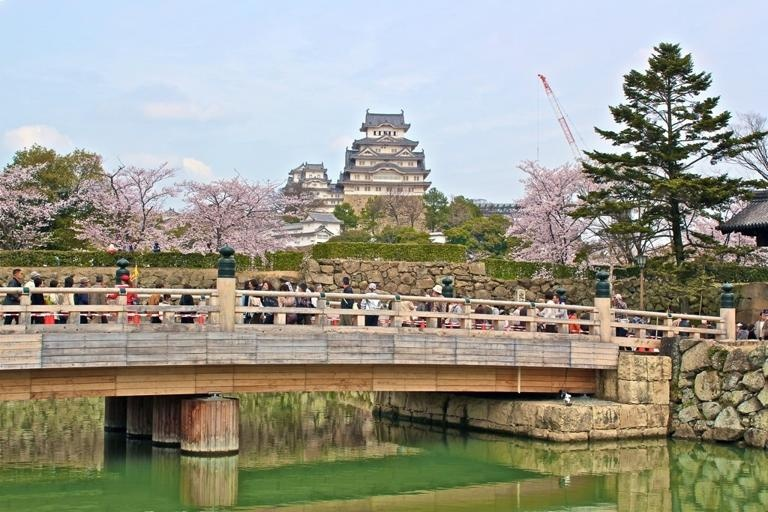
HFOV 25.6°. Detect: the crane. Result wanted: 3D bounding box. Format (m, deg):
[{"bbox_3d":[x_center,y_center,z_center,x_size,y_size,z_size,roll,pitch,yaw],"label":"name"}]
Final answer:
[{"bbox_3d":[6.603,-2.972,60.909,2.405,7.009,2.445,2,-21,0],"label":"crane"}]
